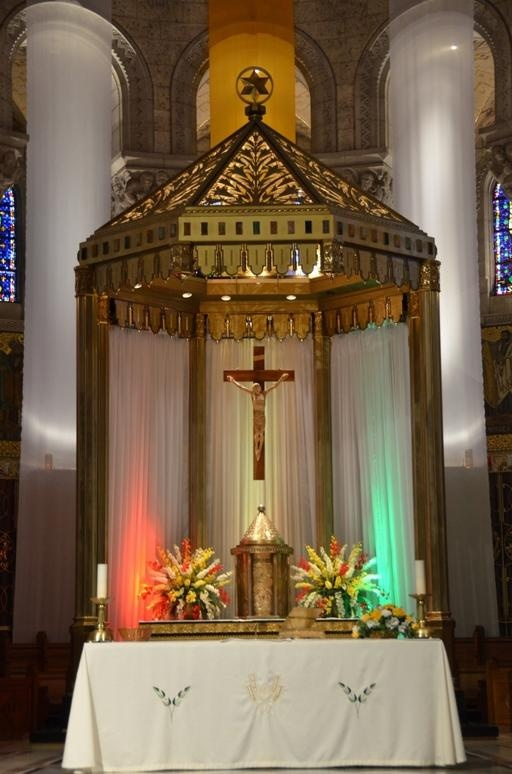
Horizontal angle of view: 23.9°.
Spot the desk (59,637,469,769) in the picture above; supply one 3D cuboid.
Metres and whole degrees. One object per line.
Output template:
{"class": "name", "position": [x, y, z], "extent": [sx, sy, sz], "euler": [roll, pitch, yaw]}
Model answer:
{"class": "desk", "position": [0.052, 1.595, 6.074], "extent": [1.971, 0.649, 0.230], "euler": [-1, -7, -6]}

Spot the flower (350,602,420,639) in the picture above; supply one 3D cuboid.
{"class": "flower", "position": [0.721, 1.293, 6.820], "extent": [0.232, 0.158, 0.232], "euler": [3, -6, -19]}

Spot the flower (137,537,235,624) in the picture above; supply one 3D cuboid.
{"class": "flower", "position": [-0.477, 1.338, 8.154], "extent": [0.548, 0.616, 0.578], "euler": [1, 0, -1]}

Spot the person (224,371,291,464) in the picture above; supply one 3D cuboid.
{"class": "person", "position": [0.028, 0.295, 8.859], "extent": [0.458, 0.767, 0.302], "euler": [-2, -7, 0]}

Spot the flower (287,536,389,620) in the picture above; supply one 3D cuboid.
{"class": "flower", "position": [0.539, 1.307, 8.201], "extent": [0.550, 0.491, 0.554], "euler": [1, -2, 33]}
